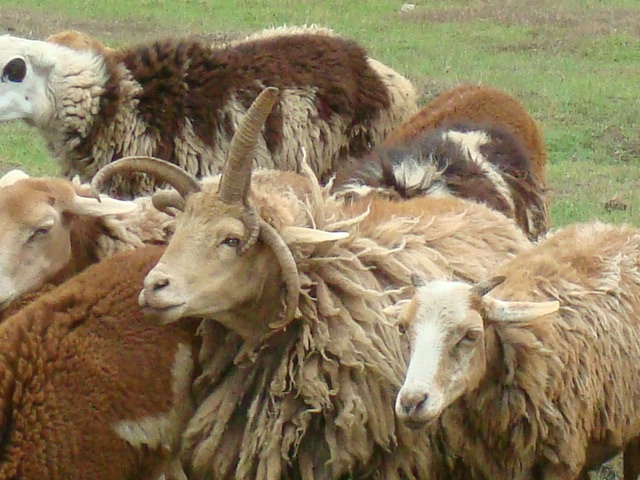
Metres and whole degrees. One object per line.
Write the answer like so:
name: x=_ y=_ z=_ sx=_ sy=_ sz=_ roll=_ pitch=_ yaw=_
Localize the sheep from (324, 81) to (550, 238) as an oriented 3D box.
sheep: x=1.034 y=-0.635 z=13.615 sx=2.164 sy=1.581 sz=1.099 roll=-19 pitch=22 yaw=-39
